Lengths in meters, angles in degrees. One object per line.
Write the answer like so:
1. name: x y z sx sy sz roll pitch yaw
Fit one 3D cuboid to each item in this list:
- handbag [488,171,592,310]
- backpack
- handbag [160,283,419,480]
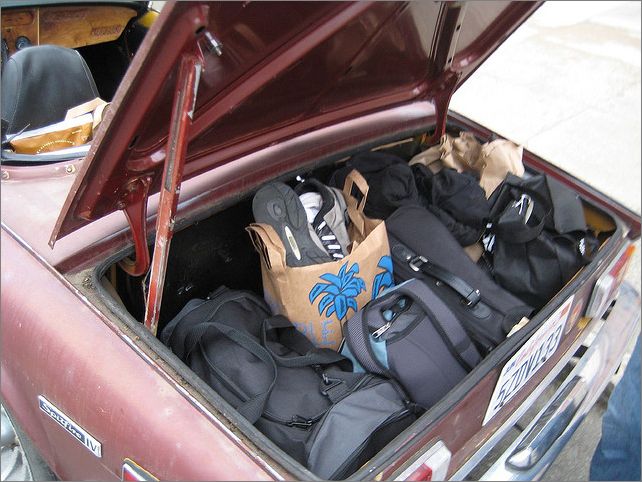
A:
1. handbag: 0.858 0.010 1.964 0.262 0.324 0.419 -6 64 -41
2. backpack: 0.320 0.314 1.861 0.447 0.504 0.314 24 33 27
3. handbag: -0.109 0.431 1.596 0.666 0.235 0.469 42 28 15
